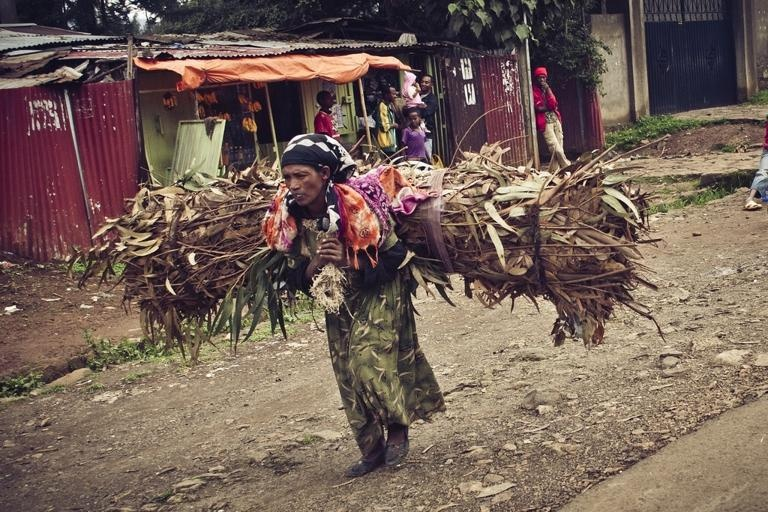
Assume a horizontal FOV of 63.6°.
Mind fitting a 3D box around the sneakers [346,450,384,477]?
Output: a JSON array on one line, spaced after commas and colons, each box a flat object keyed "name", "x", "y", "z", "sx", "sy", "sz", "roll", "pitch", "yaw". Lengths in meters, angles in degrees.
[{"name": "sneakers", "x": -0.103, "y": 1.225, "z": 3.671, "sx": 0.243, "sy": 0.088, "sz": 0.114, "roll": -29, "pitch": 44, "yaw": -2}]

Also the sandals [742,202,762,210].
[{"name": "sandals", "x": 4.074, "y": -0.554, "z": 6.822, "sx": 0.161, "sy": 0.098, "sz": 0.148, "roll": -3, "pitch": 9, "yaw": 17}]

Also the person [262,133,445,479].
[{"name": "person", "x": -0.138, "y": 0.285, "z": 3.607, "sx": 0.906, "sy": 1.991, "sz": 0.427, "roll": -9, "pitch": 9, "yaw": -9}]
